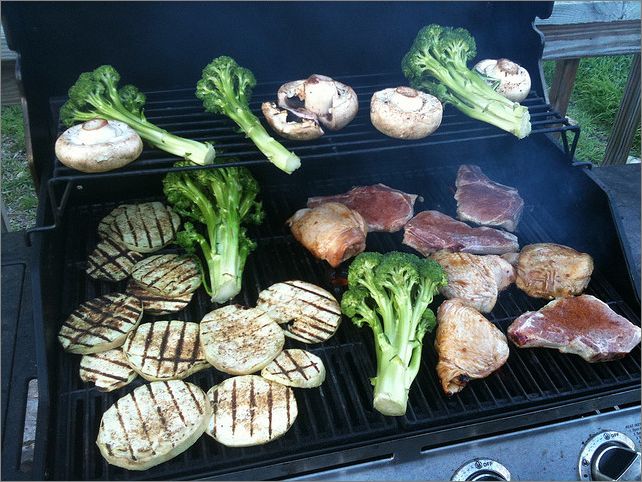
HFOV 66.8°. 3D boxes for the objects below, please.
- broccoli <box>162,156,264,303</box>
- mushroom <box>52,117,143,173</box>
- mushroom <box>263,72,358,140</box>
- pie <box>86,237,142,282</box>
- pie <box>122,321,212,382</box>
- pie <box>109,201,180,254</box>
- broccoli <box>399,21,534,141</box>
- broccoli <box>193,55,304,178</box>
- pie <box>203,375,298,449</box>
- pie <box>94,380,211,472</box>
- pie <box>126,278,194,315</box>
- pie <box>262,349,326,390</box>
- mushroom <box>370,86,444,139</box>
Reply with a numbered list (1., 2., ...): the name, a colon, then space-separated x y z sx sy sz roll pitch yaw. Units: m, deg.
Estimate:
1. broccoli: -0.483 -0.082 2.134 0.440 0.280 0.662 -3 62 -7
2. mushroom: -0.893 -0.361 1.974 0.315 0.243 0.199 -18 44 -22
3. mushroom: -0.056 -0.586 2.172 0.421 0.173 0.365 -5 50 0
4. pie: -0.965 0.099 2.270 0.227 0.089 0.222 5 40 3
5. pie: -0.622 0.452 1.959 0.297 0.113 0.283 -16 43 -21
6. pie: -0.858 -0.074 2.400 0.270 0.052 0.263 -8 48 -18
7. broccoli: 0.735 -0.756 2.493 0.760 0.284 0.449 38 72 25
8. broccoli: -0.354 -0.583 2.120 0.338 0.272 0.691 -31 60 -27
9. pie: -0.260 0.640 1.826 0.332 0.095 0.254 -3 40 -7
10. pie: -0.603 0.672 1.772 0.377 0.121 0.295 -30 50 -33
11. pie: -0.728 0.272 2.184 0.252 0.053 0.269 6 12 12
12. pie: -0.110 0.513 1.933 0.267 0.050 0.213 -8 25 -39
13. mushroom: 0.384 -0.617 2.240 0.339 0.155 0.317 17 44 8
